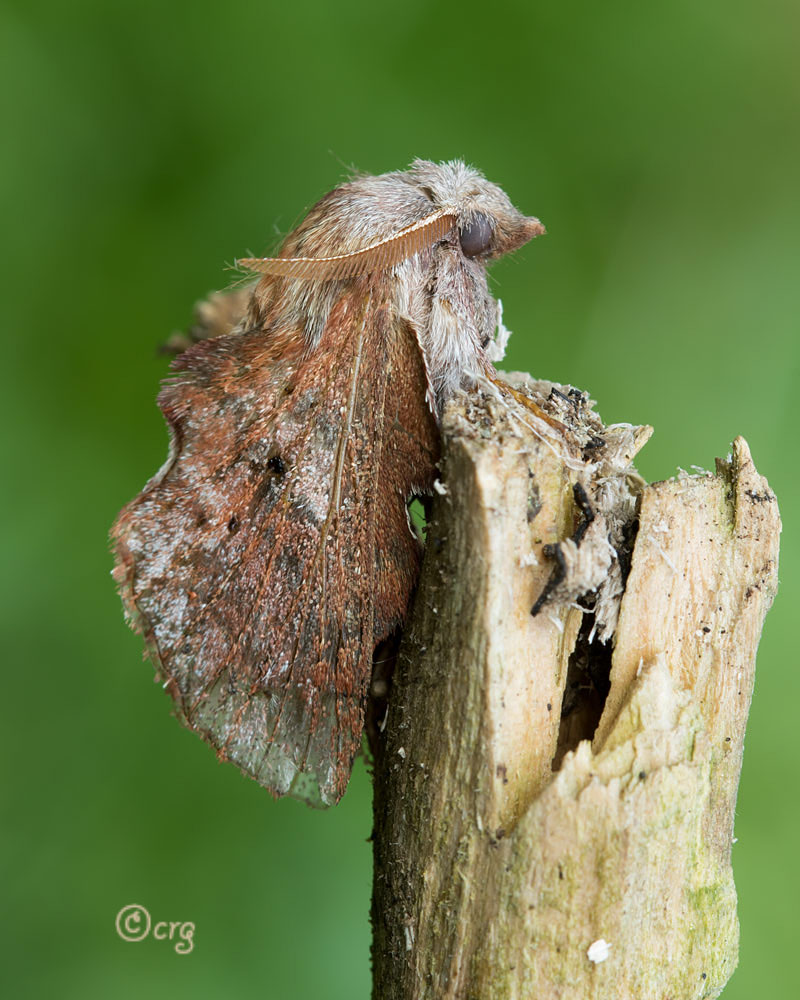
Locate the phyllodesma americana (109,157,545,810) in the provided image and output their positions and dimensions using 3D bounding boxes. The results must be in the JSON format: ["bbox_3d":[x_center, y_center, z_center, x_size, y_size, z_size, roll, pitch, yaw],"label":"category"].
[{"bbox_3d":[0.005,-0.010,1.172,0.251,0.478,0.450,17,19,-42],"label":"phyllodesma americana"}]
